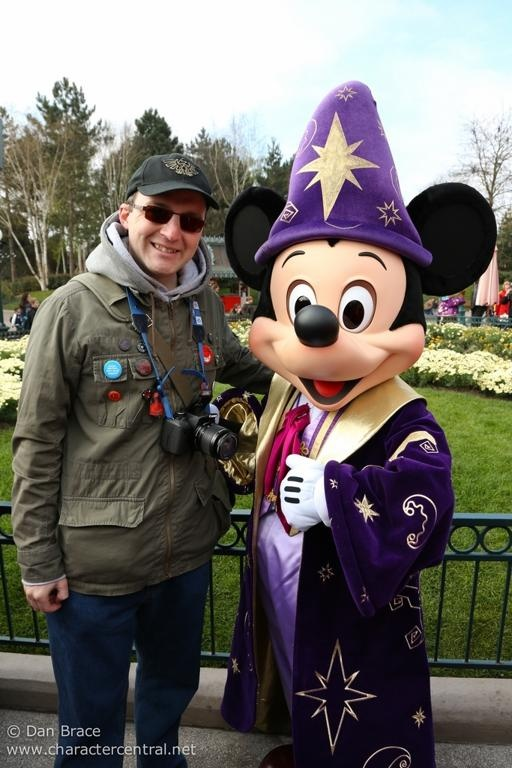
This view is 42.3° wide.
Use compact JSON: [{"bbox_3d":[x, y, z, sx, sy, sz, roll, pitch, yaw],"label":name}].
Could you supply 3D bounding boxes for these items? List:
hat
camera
[{"bbox_3d":[-0.270,-0.640,2.118,0.227,0.149,0.293,1,4,-36],"label":"hat"},{"bbox_3d":[-0.165,0.155,2.106,0.214,0.130,0.207,17,13,39],"label":"camera"}]
